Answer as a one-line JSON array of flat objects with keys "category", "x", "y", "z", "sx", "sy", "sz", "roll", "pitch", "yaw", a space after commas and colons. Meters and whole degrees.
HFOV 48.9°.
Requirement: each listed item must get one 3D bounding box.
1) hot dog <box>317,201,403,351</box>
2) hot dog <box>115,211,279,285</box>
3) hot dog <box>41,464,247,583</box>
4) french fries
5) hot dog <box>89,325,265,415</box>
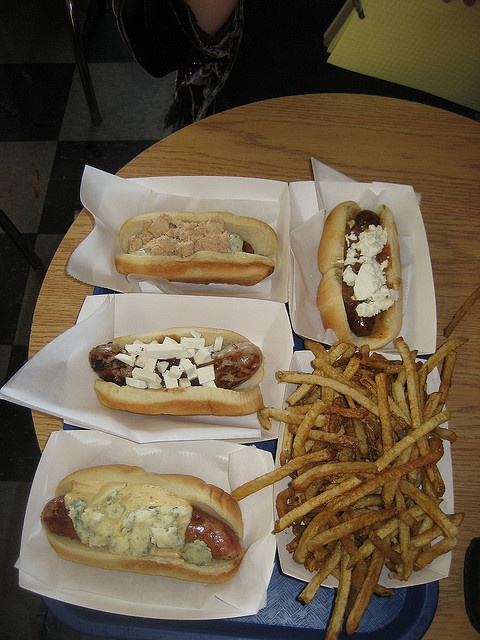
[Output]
[{"category": "hot dog", "x": 0.428, "y": -0.172, "z": 1.917, "sx": 0.300, "sy": 0.173, "sz": 0.539, "roll": -3, "pitch": 79, "yaw": 9}, {"category": "hot dog", "x": -0.150, "y": -0.282, "z": 2.053, "sx": 0.597, "sy": 0.199, "sz": 0.273, "roll": 1, "pitch": 63, "yaw": -2}, {"category": "hot dog", "x": -0.299, "y": 0.624, "z": 1.655, "sx": 0.623, "sy": 0.194, "sz": 0.291, "roll": 6, "pitch": 59, "yaw": 1}, {"category": "french fries", "x": 0.350, "y": 0.432, "z": 1.616, "sx": 0.648, "sy": 0.297, "sz": 0.944, "roll": 21, "pitch": 76, "yaw": 5}, {"category": "hot dog", "x": -0.214, "y": 0.172, "z": 1.832, "sx": 0.575, "sy": 0.202, "sz": 0.264, "roll": 0, "pitch": 55, "yaw": -1}]
